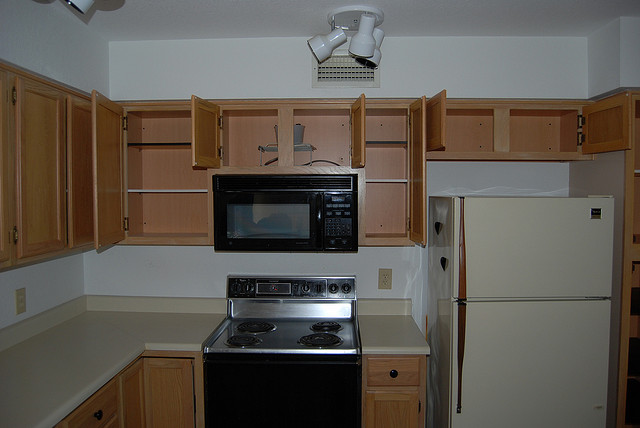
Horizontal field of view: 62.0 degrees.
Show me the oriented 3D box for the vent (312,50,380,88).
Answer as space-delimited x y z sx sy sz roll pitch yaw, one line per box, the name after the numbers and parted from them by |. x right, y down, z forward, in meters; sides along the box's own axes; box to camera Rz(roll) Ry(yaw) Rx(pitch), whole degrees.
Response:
0.194 -1.102 4.140 0.454 0.279 0.108 0 5 0 | vent

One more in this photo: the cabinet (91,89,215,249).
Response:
-1.218 -0.280 4.142 0.885 1.116 0.707 -2 -1 -19 | cabinet

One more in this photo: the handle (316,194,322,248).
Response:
-0.008 0.052 3.945 0.043 0.394 0.027 1 -2 -4 | handle

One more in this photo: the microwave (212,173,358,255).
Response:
-0.293 0.079 4.183 1.115 0.641 0.552 -1 -14 -5 | microwave

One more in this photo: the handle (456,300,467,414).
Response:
0.977 0.999 3.708 0.059 0.779 0.047 1 -2 13 | handle

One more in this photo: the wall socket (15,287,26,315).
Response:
-2.130 0.622 3.789 0.017 0.182 0.080 0 -2 21 | wall socket

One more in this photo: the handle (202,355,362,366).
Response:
-0.271 1.018 3.715 1.101 0.079 0.025 1 -2 1 | handle

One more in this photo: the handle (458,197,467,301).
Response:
0.987 0.246 3.702 0.060 0.719 0.066 1 -2 15 | handle

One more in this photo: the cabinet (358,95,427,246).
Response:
0.536 -0.309 4.001 0.504 1.107 0.573 1 -2 8 | cabinet

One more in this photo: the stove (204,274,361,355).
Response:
-0.260 0.729 3.957 1.095 0.521 0.488 1 -2 1 | stove

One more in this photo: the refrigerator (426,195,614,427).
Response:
1.454 0.685 3.747 1.107 1.625 0.318 1 -2 -8 | refrigerator

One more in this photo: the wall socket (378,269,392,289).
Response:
0.510 0.511 4.264 0.147 0.204 0.020 2 -2 -3 | wall socket
